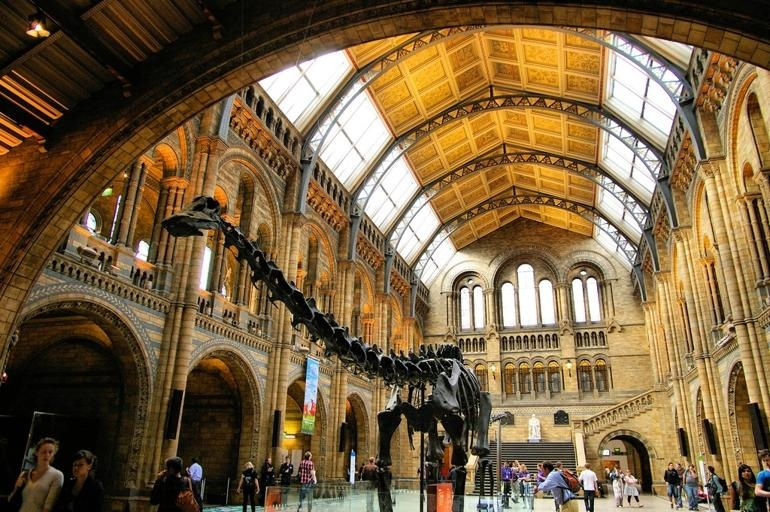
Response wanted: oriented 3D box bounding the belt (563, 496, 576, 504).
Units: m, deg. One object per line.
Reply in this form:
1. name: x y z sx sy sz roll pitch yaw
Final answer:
1. belt: 4.056 5.358 10.909 0.180 0.044 0.183 3 -16 -31

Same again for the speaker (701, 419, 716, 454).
1. speaker: 13.438 7.430 20.549 0.387 1.382 0.662 -13 -31 26

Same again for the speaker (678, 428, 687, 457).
1. speaker: 15.568 9.682 25.981 0.336 1.363 0.493 -7 -29 16

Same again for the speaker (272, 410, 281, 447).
1. speaker: -4.449 7.087 20.542 0.293 1.407 0.298 0 -28 5

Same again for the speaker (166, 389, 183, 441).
1. speaker: -6.777 5.102 16.089 0.468 1.539 0.302 15 -31 -23

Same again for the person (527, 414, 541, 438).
1. person: 10.431 11.945 34.879 0.828 1.851 0.821 -6 -29 15
